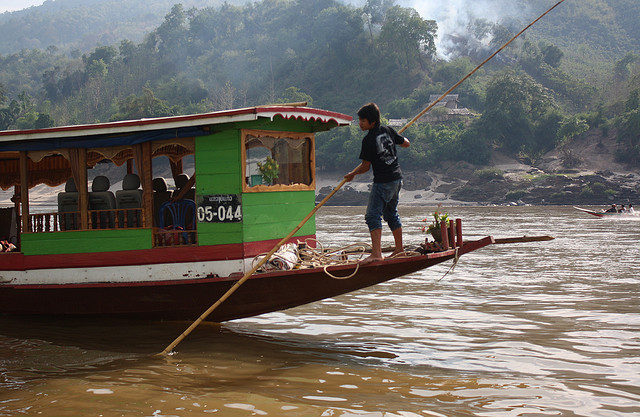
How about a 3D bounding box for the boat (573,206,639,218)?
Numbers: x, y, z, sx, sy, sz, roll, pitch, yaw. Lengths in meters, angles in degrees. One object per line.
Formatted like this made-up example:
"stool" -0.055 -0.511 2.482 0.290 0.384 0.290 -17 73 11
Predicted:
"boat" 39.523 0.630 122.547 6.884 0.727 1.091 6 -12 9
